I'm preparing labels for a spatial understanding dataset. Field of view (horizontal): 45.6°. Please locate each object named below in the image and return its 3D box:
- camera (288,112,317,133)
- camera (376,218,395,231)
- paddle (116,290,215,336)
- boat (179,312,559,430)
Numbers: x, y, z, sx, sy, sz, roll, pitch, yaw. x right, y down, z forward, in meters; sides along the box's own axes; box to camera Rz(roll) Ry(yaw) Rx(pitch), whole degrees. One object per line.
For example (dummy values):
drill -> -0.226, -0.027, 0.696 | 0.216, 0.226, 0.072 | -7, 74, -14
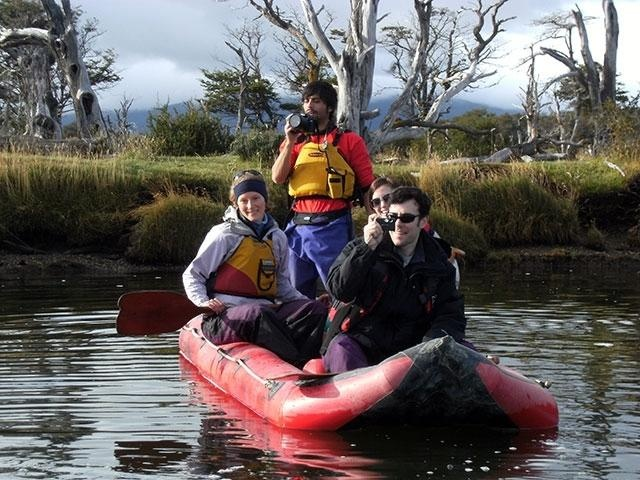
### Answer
camera -> -0.180, -1.091, 7.102 | 0.248, 0.148, 0.185 | 26, 4, 38
camera -> 0.492, -0.120, 5.702 | 0.147, 0.100, 0.046 | 0, 7, -1
paddle -> -1.592, 0.538, 7.166 | 0.640, 0.083, 1.634 | -9, 15, -15
boat -> 0.223, 0.977, 5.574 | 2.835, 0.663, 0.874 | 3, 7, 23
